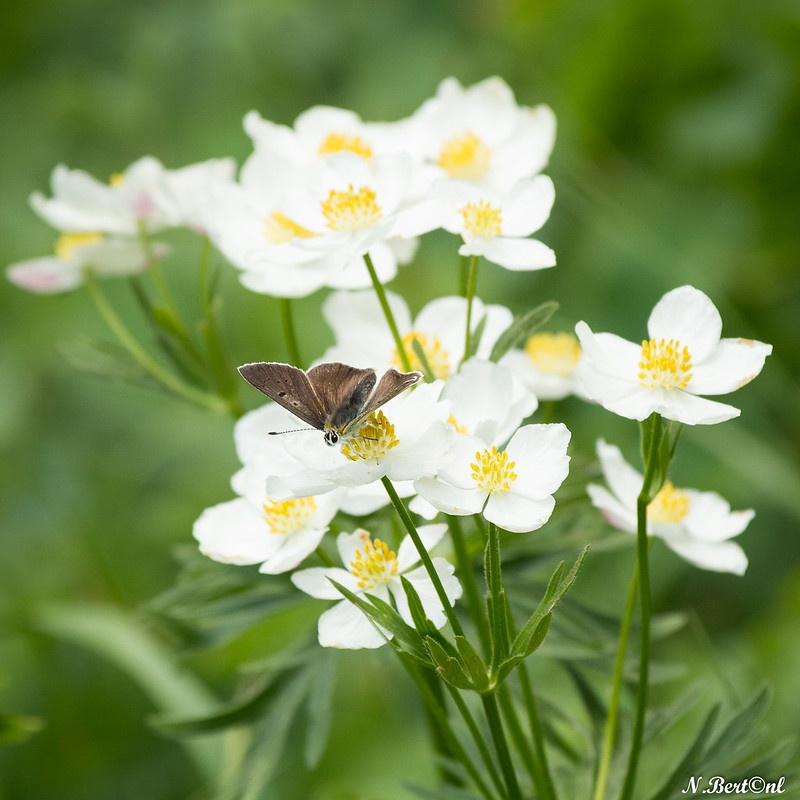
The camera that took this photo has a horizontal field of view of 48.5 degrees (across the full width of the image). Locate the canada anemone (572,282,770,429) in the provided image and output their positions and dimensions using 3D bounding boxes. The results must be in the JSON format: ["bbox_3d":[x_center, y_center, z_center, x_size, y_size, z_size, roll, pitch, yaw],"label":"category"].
[{"bbox_3d":[0.188,-0.024,0.627,0.113,0.039,0.115,28,69,18],"label":"canada anemone"}]

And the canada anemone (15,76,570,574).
[{"bbox_3d":[-0.033,-0.067,0.681,0.455,0.424,0.173,-2,12,14],"label":"canada anemone"}]
